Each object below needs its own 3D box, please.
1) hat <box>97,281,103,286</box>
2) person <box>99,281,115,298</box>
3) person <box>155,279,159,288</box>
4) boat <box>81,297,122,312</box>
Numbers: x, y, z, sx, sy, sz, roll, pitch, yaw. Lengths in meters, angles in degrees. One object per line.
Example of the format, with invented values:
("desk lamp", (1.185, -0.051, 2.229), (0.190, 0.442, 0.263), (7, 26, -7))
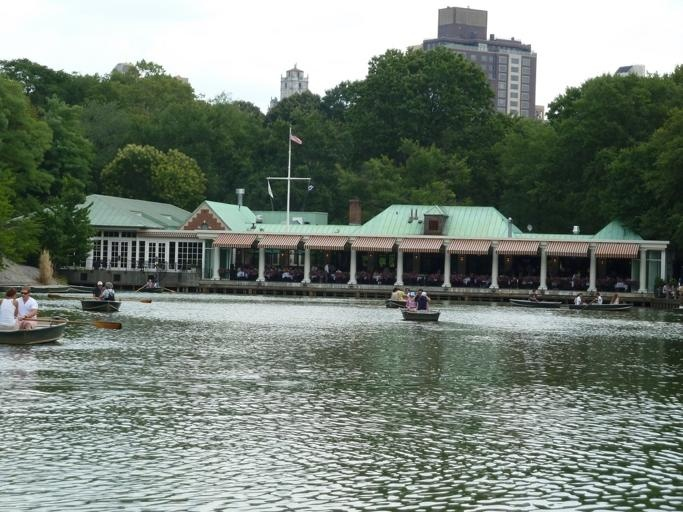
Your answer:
("hat", (-17.353, 1.994, 87.883), (0.312, 0.370, 0.383), (1, -13, -7))
("person", (-15.759, 2.294, 82.072), (1.126, 1.047, 0.598), (2, -2, -31))
("person", (-15.905, 2.409, 105.573), (0.459, 0.809, 0.557), (2, -32, -9))
("boat", (-15.157, 3.090, 76.289), (2.278, 0.772, 1.564), (4, 9, 17))
